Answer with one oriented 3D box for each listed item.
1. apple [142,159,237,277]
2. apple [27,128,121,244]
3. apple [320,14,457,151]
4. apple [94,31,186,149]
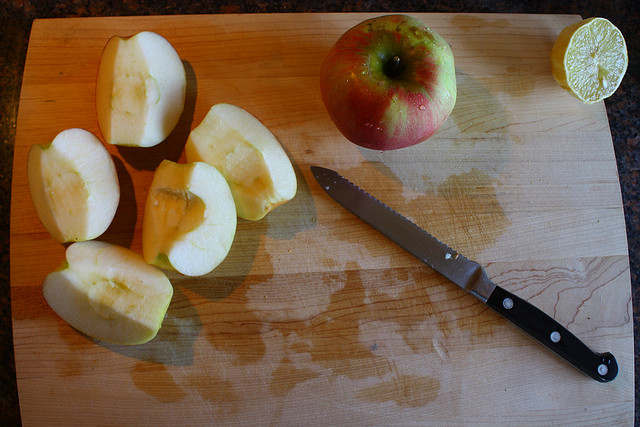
[{"bbox_3d":[-0.395,0.039,1.896,0.299,0.130,0.374,-15,62,-22],"label":"apple"},{"bbox_3d":[-0.706,-0.083,1.839,0.235,0.106,0.328,-14,88,-4],"label":"apple"},{"bbox_3d":[0.223,-0.353,1.886,0.370,0.249,0.487,10,58,21],"label":"apple"},{"bbox_3d":[-0.527,-0.363,1.859,0.254,0.132,0.294,-2,71,-4],"label":"apple"}]
